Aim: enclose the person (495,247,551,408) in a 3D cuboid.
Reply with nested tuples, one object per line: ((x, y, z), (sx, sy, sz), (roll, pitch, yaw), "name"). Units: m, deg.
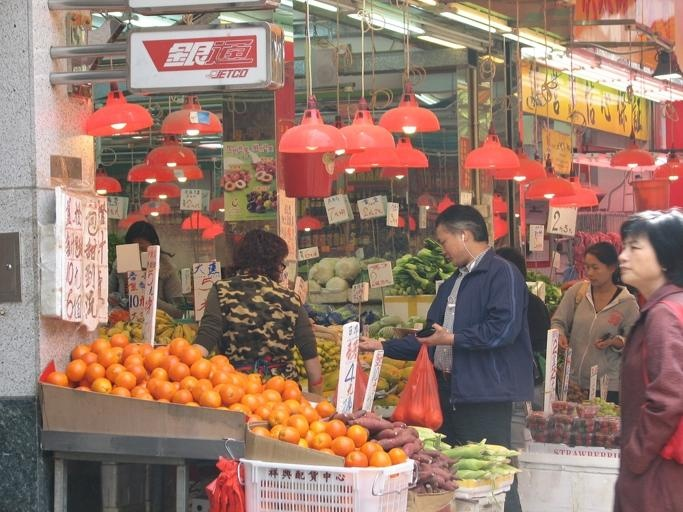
((1.569, 0.587, 10.244), (0.476, 1.403, 0.544), (6, 5, 2), "person")

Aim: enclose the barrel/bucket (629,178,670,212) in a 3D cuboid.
((3.309, -0.668, 12.982), (0.346, 0.345, 0.920), (1, 0, 7), "barrel/bucket")

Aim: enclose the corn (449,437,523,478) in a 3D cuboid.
((0.919, 1.347, 8.073), (0.485, 0.221, 0.392), (1, 0, 1), "corn")

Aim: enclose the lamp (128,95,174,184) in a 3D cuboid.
((-1.771, -1.055, 11.216), (0.258, 0.746, 0.261), (1, 7, 29), "lamp")

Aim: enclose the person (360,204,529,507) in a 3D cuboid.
((0.794, 0.499, 8.981), (1.068, 2.358, 1.094), (0, 6, -25), "person")

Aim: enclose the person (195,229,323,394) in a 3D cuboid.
((-0.556, 0.414, 8.607), (0.644, 1.195, 0.653), (0, 5, -12), "person")

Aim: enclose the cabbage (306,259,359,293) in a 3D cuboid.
((-0.083, 0.163, 12.163), (0.415, 0.341, 0.330), (-1, 4, 3), "cabbage")

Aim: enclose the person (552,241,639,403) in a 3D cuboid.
((2.194, 0.551, 10.547), (0.420, 1.779, 0.615), (-1, -2, 11), "person")

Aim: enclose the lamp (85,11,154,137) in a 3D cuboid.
((-1.546, -1.048, 8.224), (0.362, 0.457, 0.395), (-5, 4, 19), "lamp")

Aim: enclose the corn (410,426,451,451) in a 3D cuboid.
((0.607, 1.228, 8.225), (0.272, 0.105, 0.154), (32, 7, 34), "corn")

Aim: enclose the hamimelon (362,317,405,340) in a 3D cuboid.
((0.398, 0.658, 11.552), (0.156, 0.167, 0.505), (-2, 5, 42), "hamimelon")
